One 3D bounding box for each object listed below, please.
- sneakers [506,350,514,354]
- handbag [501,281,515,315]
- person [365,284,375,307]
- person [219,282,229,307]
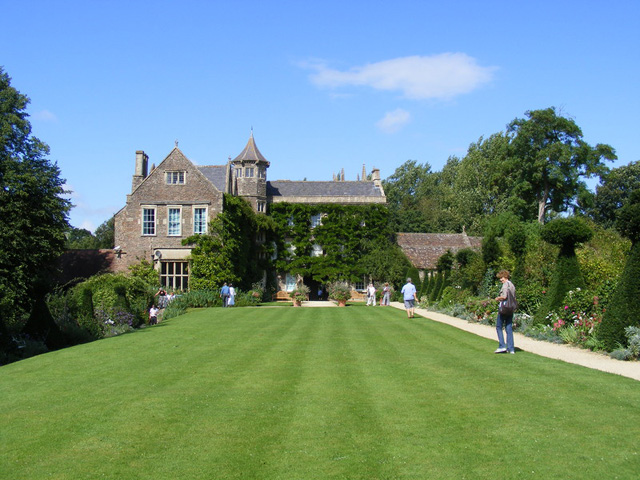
[{"bbox_3d":[5.105,3.007,14.076,0.193,0.152,0.067,-6,-5,35],"label":"sneakers"},{"bbox_3d":[5.030,1.549,14.111,0.364,0.893,0.512,1,3,20],"label":"handbag"},{"bbox_3d":[3.539,3.717,35.907,0.481,1.336,1.075,0,2,0],"label":"person"},{"bbox_3d":[-5.741,3.398,32.065,0.498,1.244,0.798,0,2,-11],"label":"person"}]
